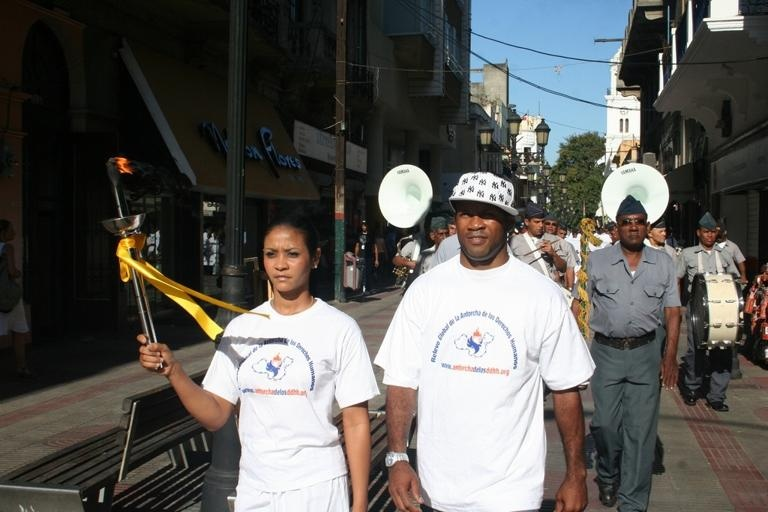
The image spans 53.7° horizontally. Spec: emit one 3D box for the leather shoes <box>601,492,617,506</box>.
[{"bbox_3d":[2.278,2.462,7.704,0.162,0.109,0.130,2,5,15],"label":"leather shoes"}]

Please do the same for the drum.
[{"bbox_3d":[4.490,0.760,10.214,0.515,1.082,0.527,-2,-2,0],"label":"drum"}]
